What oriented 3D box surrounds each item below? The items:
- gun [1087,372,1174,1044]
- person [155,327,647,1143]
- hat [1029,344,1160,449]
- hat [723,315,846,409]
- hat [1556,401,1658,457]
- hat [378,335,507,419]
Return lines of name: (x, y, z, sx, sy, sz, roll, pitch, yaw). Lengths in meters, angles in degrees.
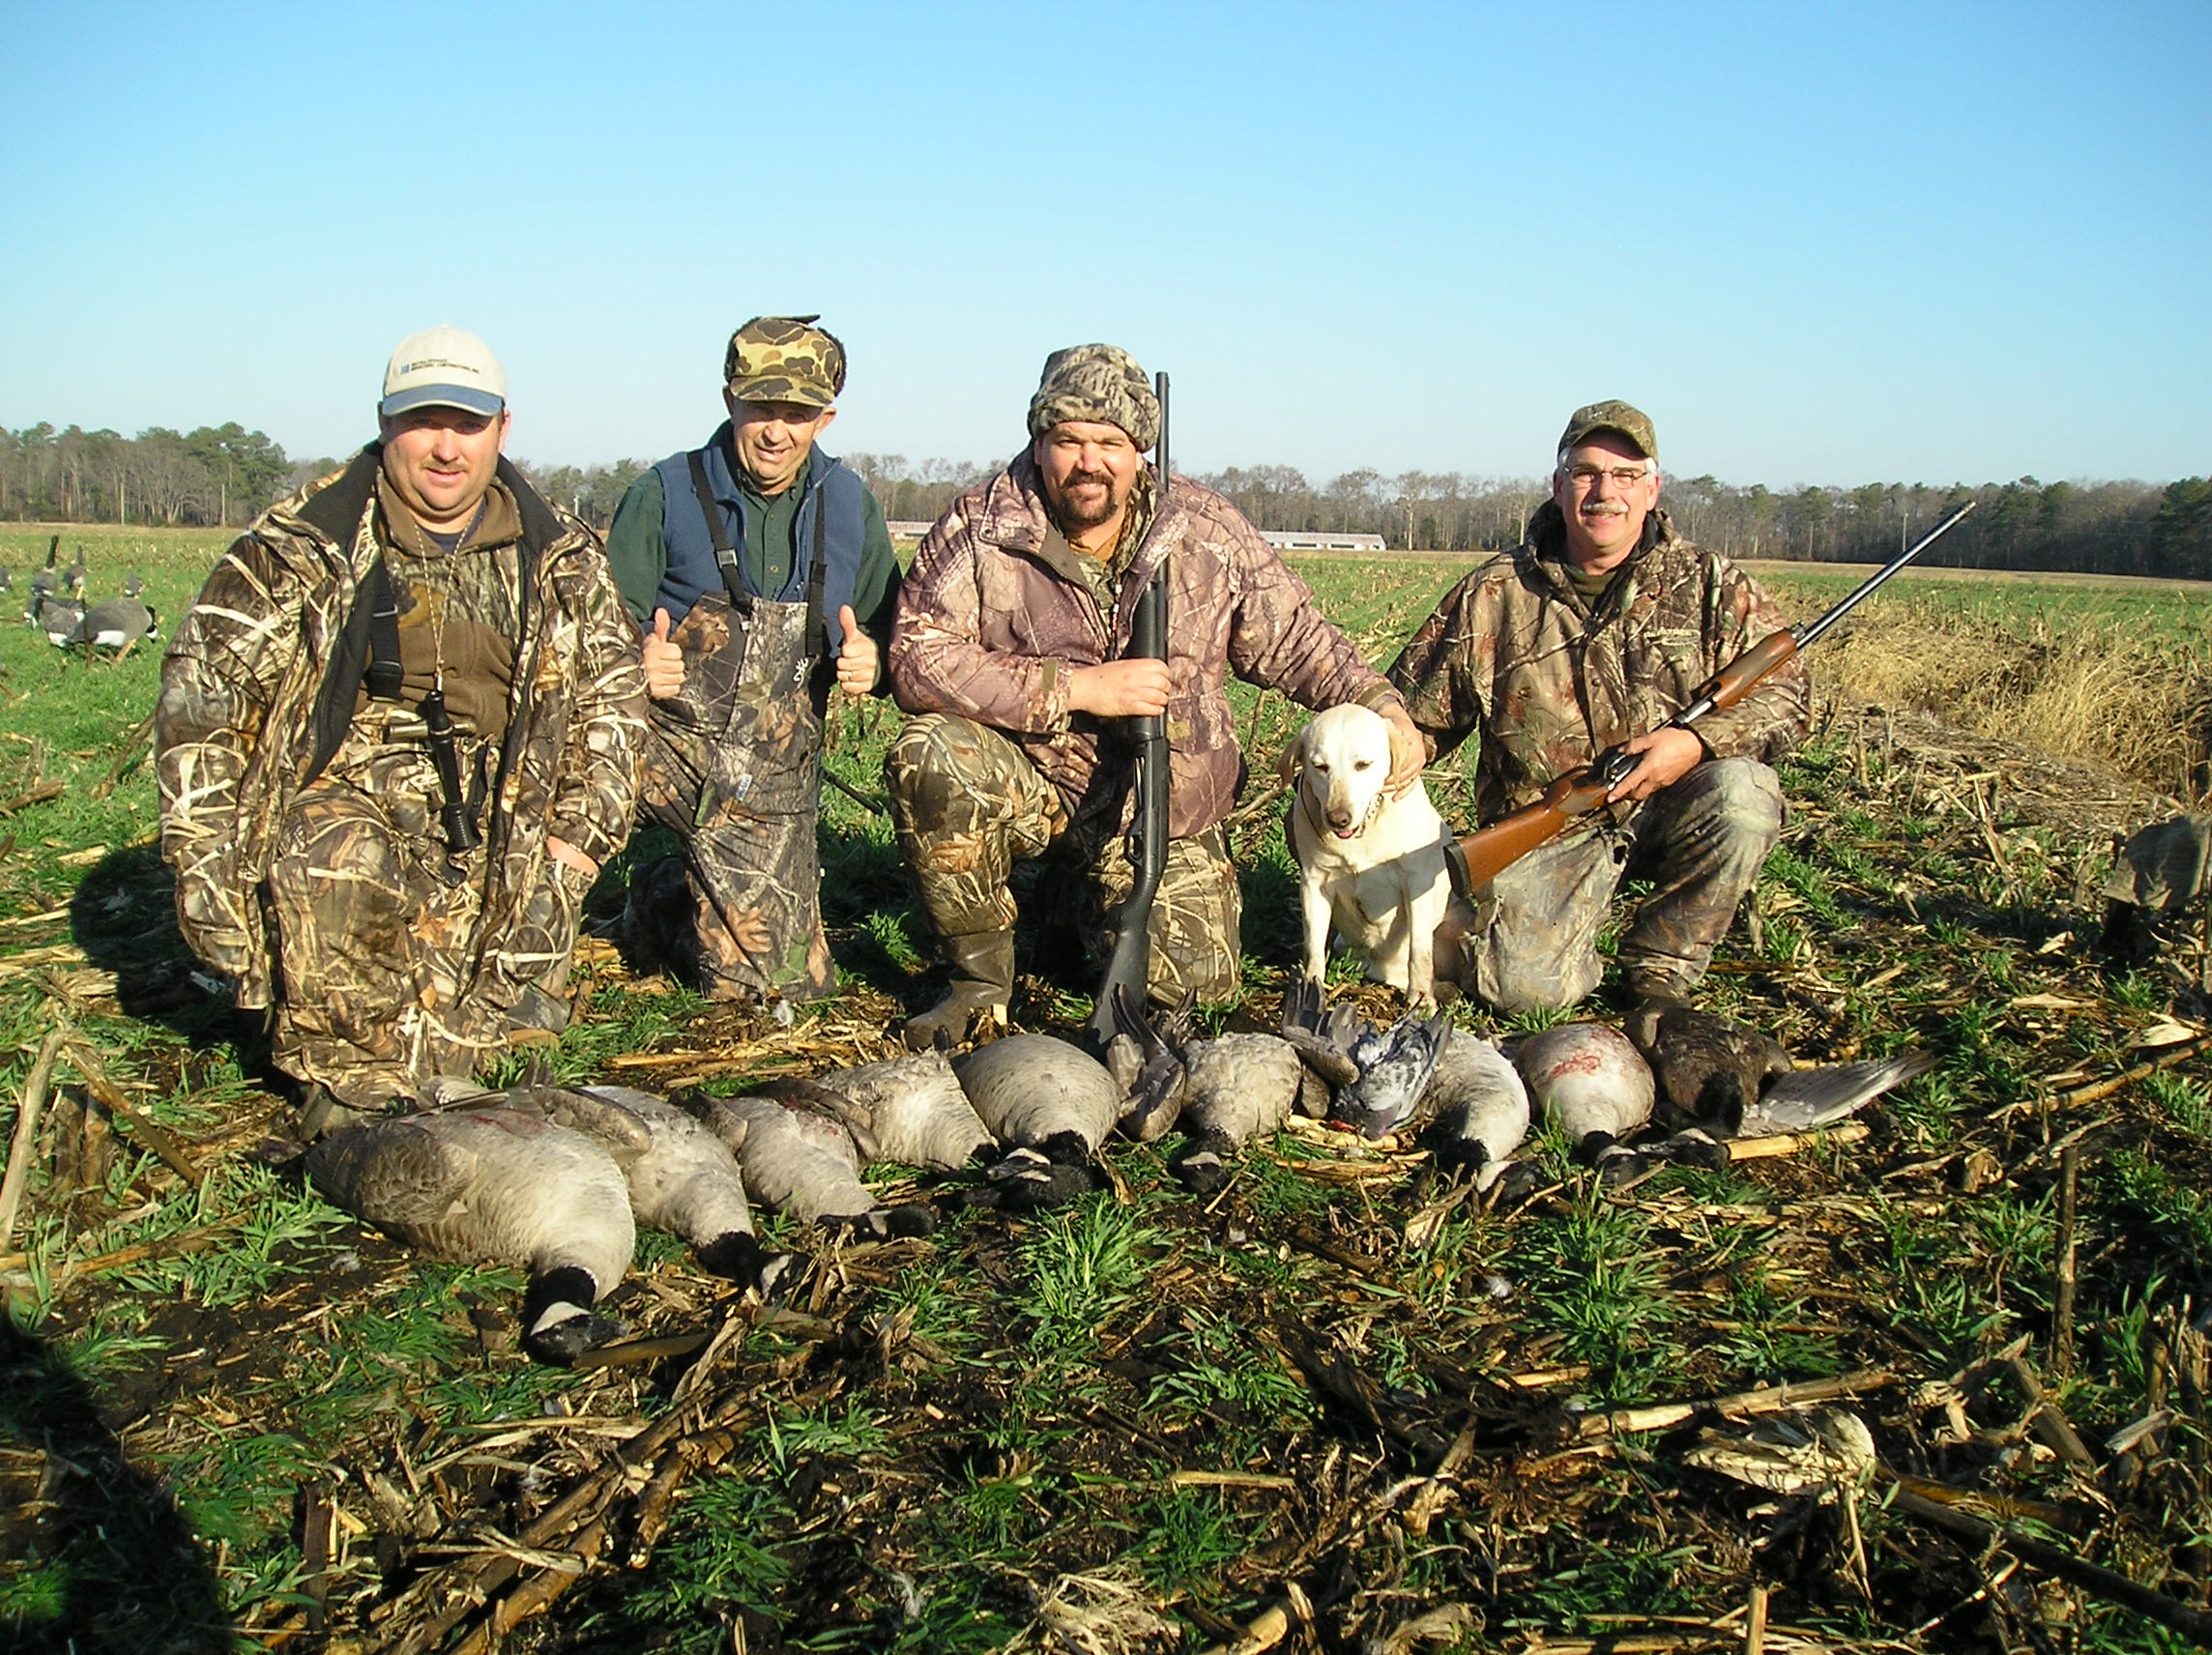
gun: (0.097, -0.512, 6.587, 0.116, 2.549, 0.440, -1, -10, 34)
person: (-2.383, -0.384, 5.745, 1.544, 2.505, 0.664, -7, 16, -29)
hat: (-0.073, -1.727, 6.688, 0.430, 0.419, 0.554, -1, 16, -21)
hat: (-1.257, -1.820, 6.671, 0.464, 0.365, 0.488, -4, 15, -22)
hat: (2.041, -1.623, 6.935, 0.370, 0.212, 0.240, 7, 15, 21)
hat: (-2.185, -1.464, 5.519, 0.373, 0.290, 0.310, -5, 15, -24)
